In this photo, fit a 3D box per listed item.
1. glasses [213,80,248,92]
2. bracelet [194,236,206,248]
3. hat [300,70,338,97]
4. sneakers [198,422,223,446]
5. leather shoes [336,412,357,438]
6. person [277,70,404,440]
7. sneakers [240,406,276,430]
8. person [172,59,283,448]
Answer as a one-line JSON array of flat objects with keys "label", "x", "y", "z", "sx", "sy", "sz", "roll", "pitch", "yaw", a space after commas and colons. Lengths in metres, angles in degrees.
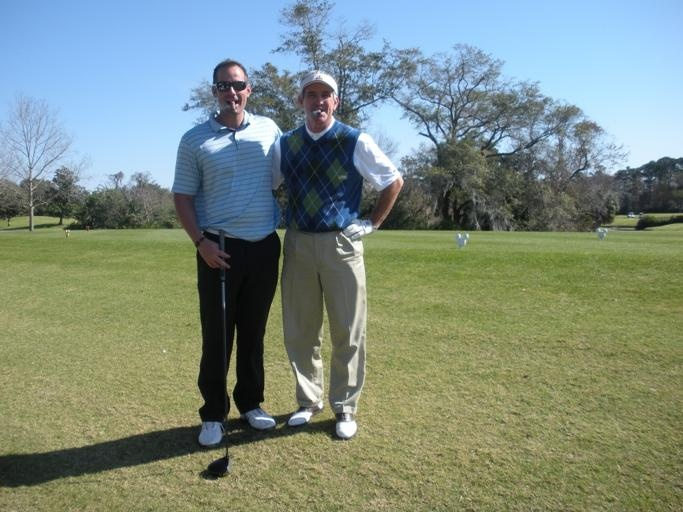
[{"label": "glasses", "x": -0.817, "y": -1.239, "z": 3.791, "sx": 0.227, "sy": 0.073, "sz": 0.077, "roll": -4, "pitch": 13, "yaw": -14}, {"label": "bracelet", "x": -1.028, "y": -0.099, "z": 3.737, "sx": 0.072, "sy": 0.089, "sz": 0.121, "roll": -4, "pitch": 13, "yaw": -17}, {"label": "hat", "x": -0.183, "y": -1.316, "z": 3.914, "sx": 0.270, "sy": 0.218, "sz": 0.506, "roll": 0, "pitch": 13, "yaw": 1}, {"label": "sneakers", "x": -0.919, "y": 1.245, "z": 3.620, "sx": 0.155, "sy": 0.094, "sz": 0.181, "roll": -3, "pitch": 13, "yaw": -10}, {"label": "leather shoes", "x": 0.027, "y": 1.214, "z": 3.714, "sx": 0.160, "sy": 0.106, "sz": 0.237, "roll": -1, "pitch": 13, "yaw": -2}, {"label": "person", "x": -0.056, "y": -0.038, "z": 3.830, "sx": 0.880, "sy": 2.560, "sz": 0.672, "roll": -2, "pitch": 12, "yaw": -8}, {"label": "sneakers", "x": -0.628, "y": 1.209, "z": 3.831, "sx": 0.257, "sy": 0.105, "sz": 0.223, "roll": -2, "pitch": 13, "yaw": -8}, {"label": "person", "x": -0.800, "y": -0.083, "z": 3.807, "sx": 0.797, "sy": 2.634, "sz": 0.788, "roll": -5, "pitch": 12, "yaw": -19}]
